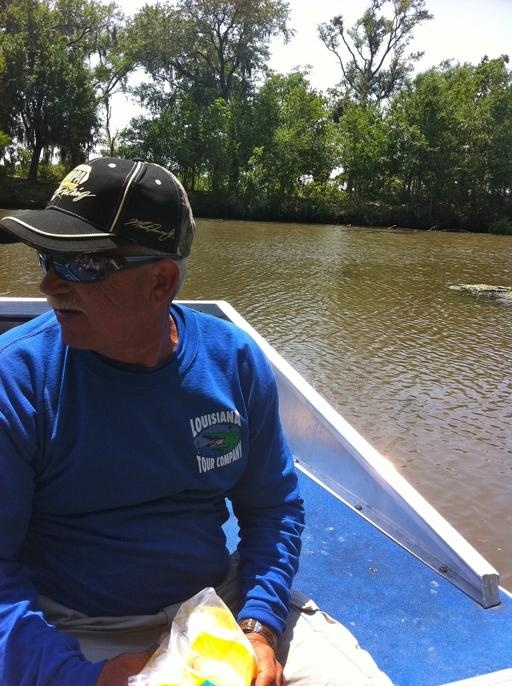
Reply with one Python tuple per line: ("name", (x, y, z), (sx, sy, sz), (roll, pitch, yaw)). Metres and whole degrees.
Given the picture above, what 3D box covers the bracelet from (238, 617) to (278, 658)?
("bracelet", (0.005, 0.498, 1.134), (0.040, 0.064, 0.070), (-53, 18, -19))
